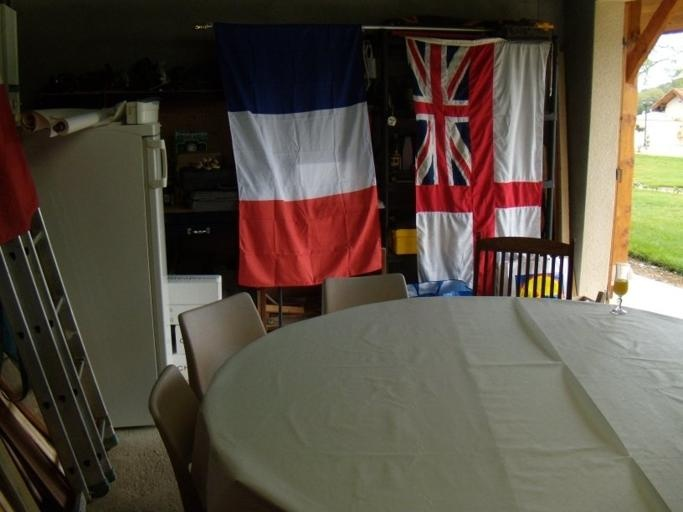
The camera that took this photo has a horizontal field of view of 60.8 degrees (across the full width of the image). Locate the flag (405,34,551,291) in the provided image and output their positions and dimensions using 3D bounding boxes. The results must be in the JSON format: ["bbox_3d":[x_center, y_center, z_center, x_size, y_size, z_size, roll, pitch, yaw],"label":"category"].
[{"bbox_3d":[1.032,-0.707,4.354,1.104,1.820,0.239,-7,15,-18],"label":"flag"}]

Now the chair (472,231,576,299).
[{"bbox_3d":[1.118,0.062,3.650,0.383,0.501,0.243,1,-2,3],"label":"chair"}]
